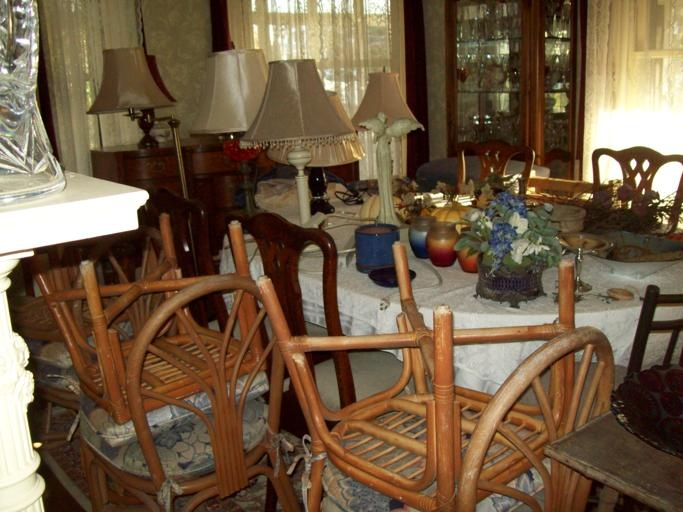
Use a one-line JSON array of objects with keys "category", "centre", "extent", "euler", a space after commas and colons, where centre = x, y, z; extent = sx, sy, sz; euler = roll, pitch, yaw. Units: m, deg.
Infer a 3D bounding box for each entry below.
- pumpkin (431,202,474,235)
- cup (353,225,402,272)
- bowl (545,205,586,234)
[{"category": "pumpkin", "centre": [0.380, -0.140, 1.878], "extent": [0.123, 0.116, 0.118], "euler": [-2, 27, 5]}, {"category": "cup", "centre": [0.127, -0.034, 1.746], "extent": [0.137, 0.145, 0.147], "euler": [-1, 12, 0]}, {"category": "bowl", "centre": [0.767, -0.129, 1.875], "extent": [0.132, 0.043, 0.127], "euler": [-4, 22, 2]}]
